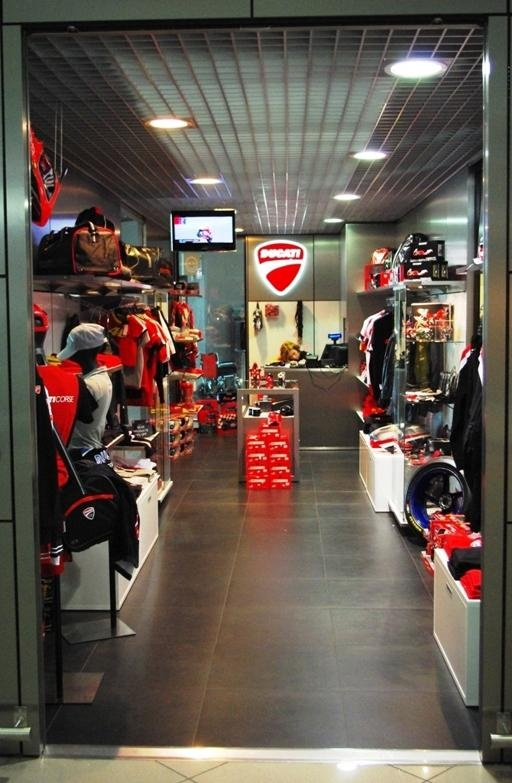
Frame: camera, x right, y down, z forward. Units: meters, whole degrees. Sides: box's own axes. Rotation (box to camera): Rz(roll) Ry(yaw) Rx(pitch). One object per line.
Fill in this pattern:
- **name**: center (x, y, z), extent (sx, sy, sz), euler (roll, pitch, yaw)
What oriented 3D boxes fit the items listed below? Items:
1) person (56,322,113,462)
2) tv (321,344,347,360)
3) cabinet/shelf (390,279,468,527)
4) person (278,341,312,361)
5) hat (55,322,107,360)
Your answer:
- **person**: center (-0.874, -0.006, 2.951), extent (0.264, 0.722, 0.726), euler (0, 2, -19)
- **tv**: center (1.173, -0.580, 8.528), extent (0.400, 0.256, 0.275), euler (2, 2, 23)
- **cabinet/shelf**: center (1.300, 0.122, 4.438), extent (0.577, 1.939, 0.649), euler (1, 2, 23)
- **person**: center (0.552, -0.600, 8.841), extent (0.358, 0.365, 0.763), euler (1, 2, 9)
- **hat**: center (-0.951, -0.286, 3.164), extent (0.247, 0.155, 0.170), euler (-19, 24, -13)
